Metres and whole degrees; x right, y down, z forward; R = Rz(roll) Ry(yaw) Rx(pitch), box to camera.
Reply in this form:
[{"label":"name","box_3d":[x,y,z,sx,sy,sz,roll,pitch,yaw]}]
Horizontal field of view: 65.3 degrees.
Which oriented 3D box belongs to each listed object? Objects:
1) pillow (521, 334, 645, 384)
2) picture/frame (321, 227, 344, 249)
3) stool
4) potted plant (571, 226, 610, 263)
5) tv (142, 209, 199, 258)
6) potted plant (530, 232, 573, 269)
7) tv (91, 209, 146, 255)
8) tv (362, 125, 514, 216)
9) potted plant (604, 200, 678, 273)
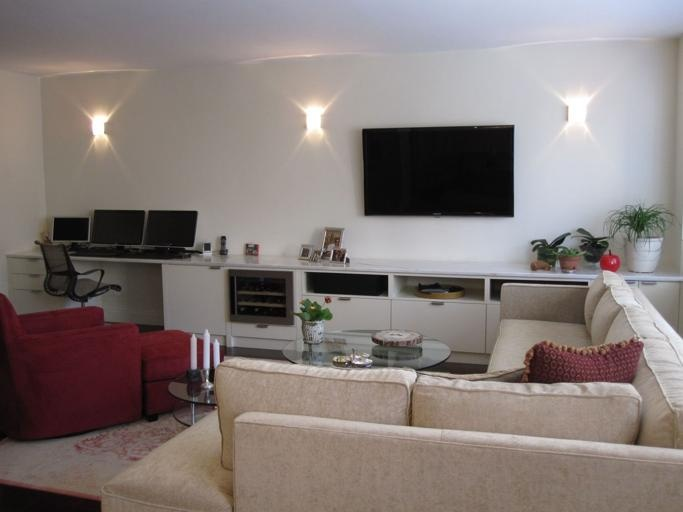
[{"label":"pillow","box_3d":[0.940,0.421,2.080,0.281,0.088,0.267,-3,13,11]},{"label":"picture/frame","box_3d":[-0.078,-0.188,5.472,0.203,0.261,0.030,4,-10,17]},{"label":"stool","box_3d":[-1.396,0.923,4.035,0.647,0.577,0.633,-11,-10,34]},{"label":"potted plant","box_3d":[2.240,-0.103,4.887,0.327,0.300,0.328,0,2,-22]},{"label":"tv","box_3d":[-1.858,-0.246,5.835,0.507,0.465,0.106,2,1,14]},{"label":"potted plant","box_3d":[1.928,-0.052,4.859,0.344,0.308,0.352,0,0,14]},{"label":"tv","box_3d":[-2.477,-0.264,5.964,0.510,0.373,0.139,0,-3,17]},{"label":"tv","box_3d":[0.931,-0.836,5.198,1.462,0.913,0.055,1,22,12]},{"label":"potted plant","box_3d":[2.631,-0.136,4.691,0.523,0.519,0.482,4,-8,0]}]
